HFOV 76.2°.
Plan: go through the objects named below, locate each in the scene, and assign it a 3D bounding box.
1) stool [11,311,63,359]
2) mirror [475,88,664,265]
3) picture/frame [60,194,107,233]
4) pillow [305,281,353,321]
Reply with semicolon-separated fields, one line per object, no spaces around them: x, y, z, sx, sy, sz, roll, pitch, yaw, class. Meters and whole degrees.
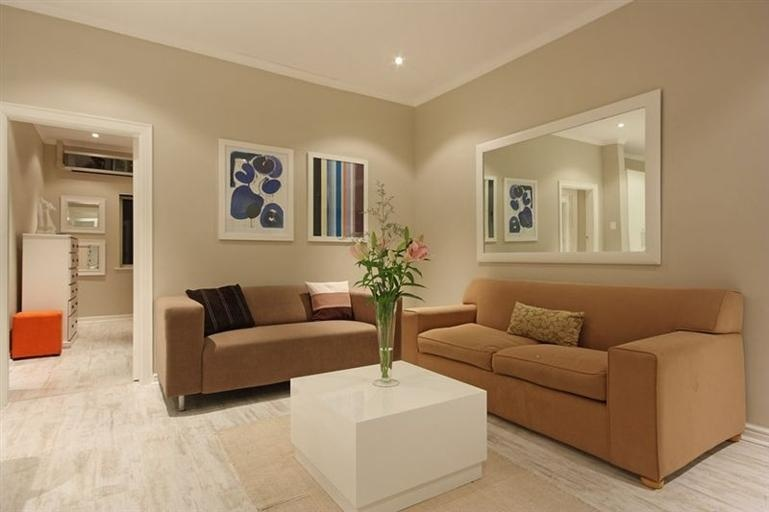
-4.101;0.893;5.877;0.514;0.538;0.509;0;1;-27;stool
1.922;-0.811;4.935;0.046;1.362;1.956;0;-2;-44;mirror
-4.952;-0.705;7.994;0.633;0.676;0.046;-3;3;-43;picture/frame
-0.613;0.513;5.558;0.498;0.448;0.252;0;-3;-25;pillow
